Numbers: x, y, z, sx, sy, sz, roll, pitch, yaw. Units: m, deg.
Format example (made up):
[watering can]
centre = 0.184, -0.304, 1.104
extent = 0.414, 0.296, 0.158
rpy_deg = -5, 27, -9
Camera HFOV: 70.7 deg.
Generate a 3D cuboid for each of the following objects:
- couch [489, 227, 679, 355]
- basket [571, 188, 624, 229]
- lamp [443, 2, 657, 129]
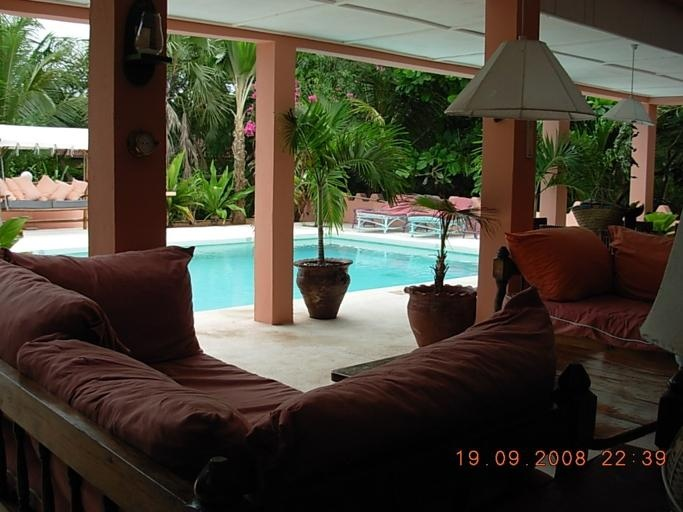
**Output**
[couch]
centre = 1.918, 0.191, 3.674
extent = 1.283, 0.481, 1.154
rpy_deg = -8, 34, -11
[basket]
centre = 2.747, -0.456, 5.328
extent = 0.544, 0.330, 0.522
rpy_deg = 2, 0, -38
[lamp]
centre = 0.847, -0.850, 2.352
extent = 0.693, 0.451, 0.468
rpy_deg = -6, 12, 13
